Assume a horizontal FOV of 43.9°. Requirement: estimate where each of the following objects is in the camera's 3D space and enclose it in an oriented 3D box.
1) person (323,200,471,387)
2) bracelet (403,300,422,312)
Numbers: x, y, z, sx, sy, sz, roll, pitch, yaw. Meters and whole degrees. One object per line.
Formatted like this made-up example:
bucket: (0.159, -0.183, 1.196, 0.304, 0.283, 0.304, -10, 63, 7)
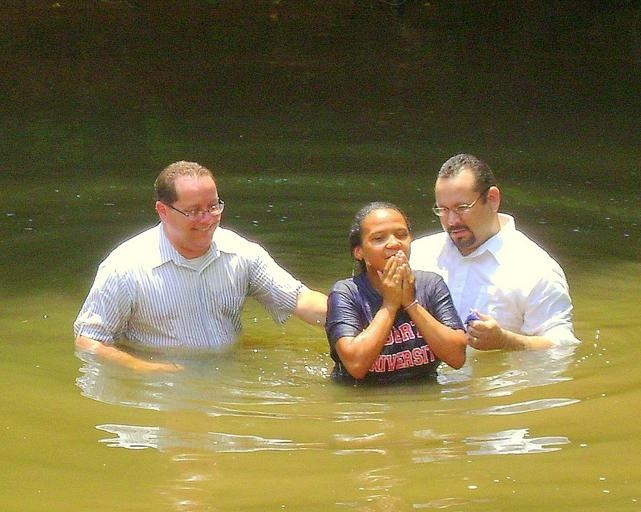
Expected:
person: (0.406, 0.220, 4.472, 0.769, 1.052, 0.459, -3, 8, 0)
bracelet: (0.506, 0.278, 4.389, 0.080, 0.014, 0.070, -23, -1, 11)
